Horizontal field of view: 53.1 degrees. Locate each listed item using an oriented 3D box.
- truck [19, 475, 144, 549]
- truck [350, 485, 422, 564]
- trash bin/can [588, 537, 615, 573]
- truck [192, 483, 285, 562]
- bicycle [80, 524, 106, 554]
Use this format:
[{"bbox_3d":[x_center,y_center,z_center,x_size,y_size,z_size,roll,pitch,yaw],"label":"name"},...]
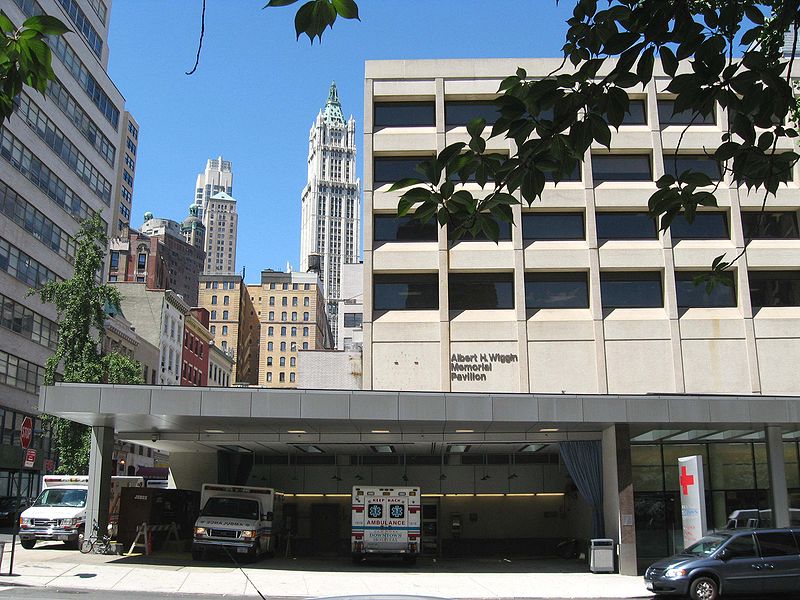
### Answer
[{"bbox_3d":[-11.941,7.373,28.533,2.319,2.268,4.642,-2,-20,4],"label":"truck"},{"bbox_3d":[-0.527,7.706,27.496,1.623,1.722,2.937,0,-9,1],"label":"truck"},{"bbox_3d":[6.586,8.420,26.335,0.980,1.340,0.976,0,-7,4],"label":"trash bin/can"},{"bbox_3d":[-5.716,7.795,28.024,2.346,2.533,3.232,-1,-21,0],"label":"truck"},{"bbox_3d":[-10.171,8.088,26.751,1.113,0.772,0.568,-2,-18,-8],"label":"bicycle"}]
